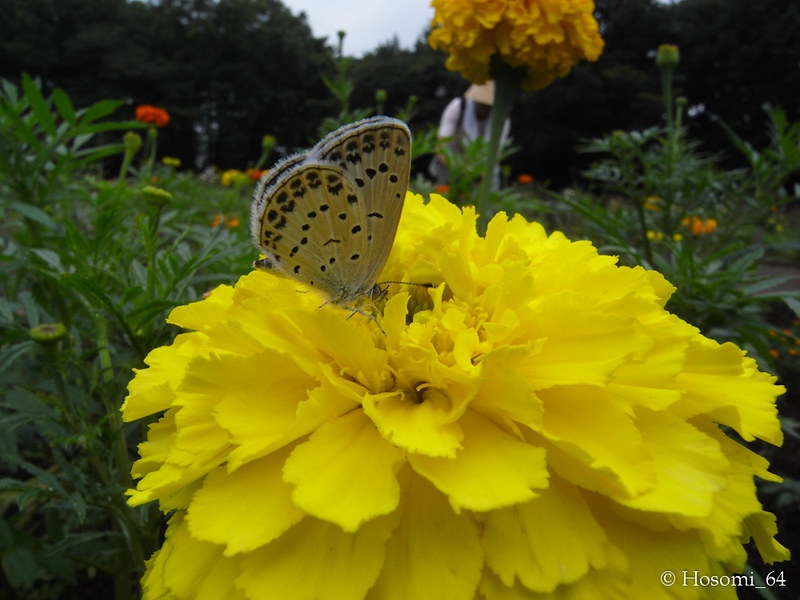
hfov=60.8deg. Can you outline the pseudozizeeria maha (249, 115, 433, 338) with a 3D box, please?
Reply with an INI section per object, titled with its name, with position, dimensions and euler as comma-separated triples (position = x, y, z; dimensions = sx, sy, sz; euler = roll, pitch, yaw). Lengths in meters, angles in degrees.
[pseudozizeeria maha]
position = -0.139, -0.205, 1.701
dimensions = 0.478, 0.474, 0.515
euler = 10, -1, 2
